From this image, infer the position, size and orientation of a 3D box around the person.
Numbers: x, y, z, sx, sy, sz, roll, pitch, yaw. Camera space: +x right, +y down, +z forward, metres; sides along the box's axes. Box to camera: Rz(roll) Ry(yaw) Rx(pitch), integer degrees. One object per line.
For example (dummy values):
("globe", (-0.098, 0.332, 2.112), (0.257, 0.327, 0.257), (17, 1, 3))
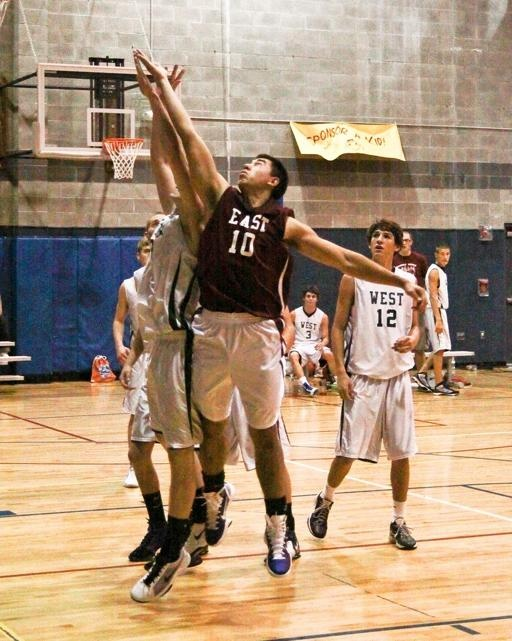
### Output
("person", (-0.030, -0.010, 3.129), (0.853, 1.939, 0.514), (2, 2, -11))

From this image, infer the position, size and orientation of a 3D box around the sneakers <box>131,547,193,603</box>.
("sneakers", (-0.327, 0.853, 2.918), (0.187, 0.201, 0.131), (3, 2, 7))

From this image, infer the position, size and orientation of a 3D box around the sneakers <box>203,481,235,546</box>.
("sneakers", (-0.149, 0.733, 3.269), (0.077, 0.282, 0.106), (-6, -20, 31))

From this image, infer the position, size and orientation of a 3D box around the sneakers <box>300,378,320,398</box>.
("sneakers", (0.608, 0.760, 9.925), (0.140, 0.109, 0.310), (37, -5, -9))

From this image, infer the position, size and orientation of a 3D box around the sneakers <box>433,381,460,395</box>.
("sneakers", (2.222, 0.794, 10.178), (0.140, 0.172, 0.327), (3, -8, -25))

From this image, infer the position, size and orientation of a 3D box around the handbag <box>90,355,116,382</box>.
("handbag", (-2.098, 0.659, 11.920), (0.322, 0.356, 0.391), (2, 2, -12))

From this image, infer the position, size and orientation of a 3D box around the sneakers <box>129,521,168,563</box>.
("sneakers", (-0.428, 0.892, 3.513), (0.072, 0.182, 0.234), (0, -5, 28))
